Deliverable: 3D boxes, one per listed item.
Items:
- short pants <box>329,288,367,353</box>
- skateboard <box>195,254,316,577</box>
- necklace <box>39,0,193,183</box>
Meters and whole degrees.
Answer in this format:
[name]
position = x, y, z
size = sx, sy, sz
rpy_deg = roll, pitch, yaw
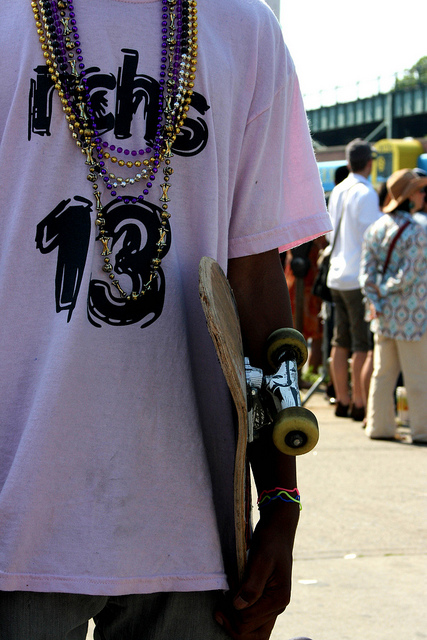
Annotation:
[short pants]
position = 1.207, -0.009, 7.078
size = 0.294, 0.572, 0.584
rpy_deg = 0, 3, -6
[skateboard]
position = 0.064, 0.106, 1.229
size = 0.089, 0.613, 0.154
rpy_deg = -2, 1, 12
[necklace]
position = -0.162, -0.353, 1.217
size = 0.249, 0.340, 0.025
rpy_deg = -6, -7, -22
